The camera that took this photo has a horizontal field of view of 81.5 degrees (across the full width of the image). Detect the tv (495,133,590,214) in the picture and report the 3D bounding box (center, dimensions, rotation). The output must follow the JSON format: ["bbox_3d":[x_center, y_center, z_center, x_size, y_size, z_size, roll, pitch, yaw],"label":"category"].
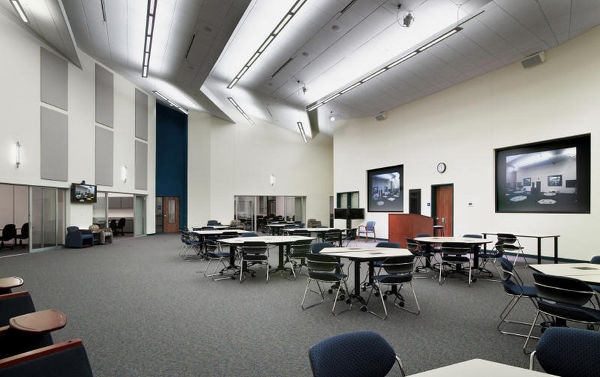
[{"bbox_3d":[7.975,-0.484,11.229,2.754,2.344,0.288,-2,-4,45],"label":"tv"}]

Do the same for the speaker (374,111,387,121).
[{"bbox_3d":[3.703,-3.239,15.868,0.342,0.352,0.484,-9,-1,-26],"label":"speaker"}]

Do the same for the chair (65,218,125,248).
[{"bbox_3d":[-8.713,2.023,14.392,0.812,1.166,1.709,7,15,30],"label":"chair"}]

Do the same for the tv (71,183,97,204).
[{"bbox_3d":[-8.917,0.221,14.247,0.142,0.646,0.855,-2,-3,27],"label":"tv"}]
